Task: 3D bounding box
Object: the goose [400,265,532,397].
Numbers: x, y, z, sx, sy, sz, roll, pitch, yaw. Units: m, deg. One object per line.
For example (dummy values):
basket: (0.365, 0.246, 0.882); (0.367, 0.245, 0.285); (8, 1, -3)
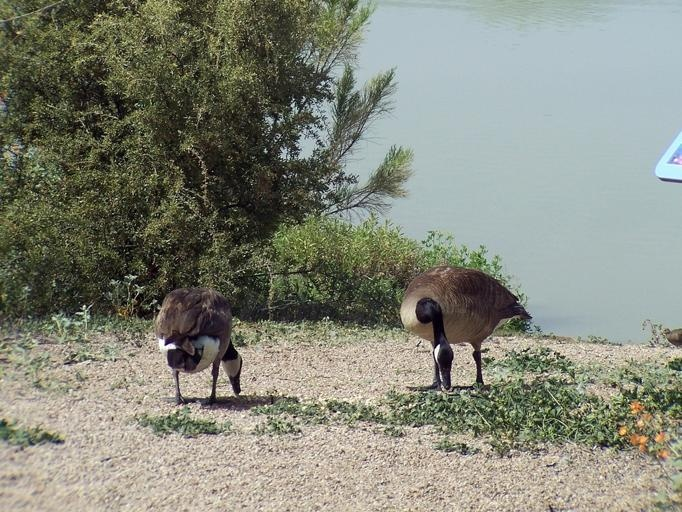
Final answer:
goose: (1.435, 0.721, 11.682); (1.535, 2.107, 1.776); (0, -1, 31)
